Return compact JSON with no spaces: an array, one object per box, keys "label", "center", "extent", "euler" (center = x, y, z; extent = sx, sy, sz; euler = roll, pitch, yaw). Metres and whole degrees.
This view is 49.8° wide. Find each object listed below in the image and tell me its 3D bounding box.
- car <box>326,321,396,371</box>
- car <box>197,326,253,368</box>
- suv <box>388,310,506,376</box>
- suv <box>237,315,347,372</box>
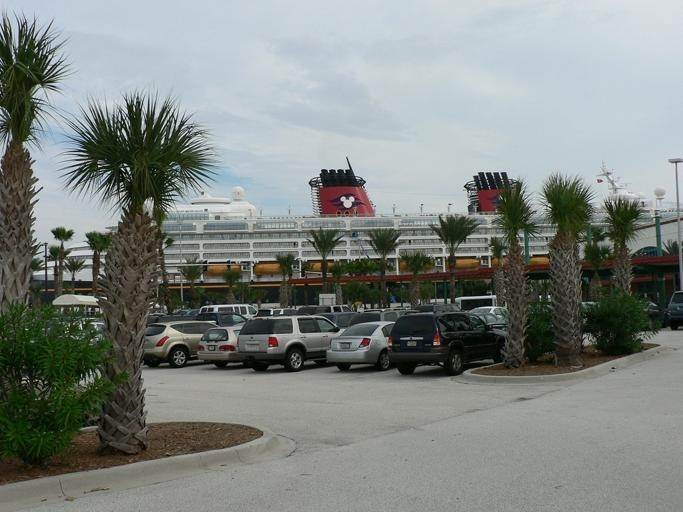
[{"label":"car","center":[0.606,2.762,22.681],"extent":[1.058,0.912,2.408],"euler":[-2,0,28]},{"label":"car","center":[-4.192,3.026,25.165],"extent":[1.116,0.959,1.980],"euler":[0,1,19]},{"label":"suv","center":[3.047,2.461,21.193],"extent":[3.200,1.739,1.333],"euler":[1,-5,-36]},{"label":"suv","center":[-1.576,2.656,24.127],"extent":[1.505,1.298,3.179],"euler":[-2,1,37]}]
